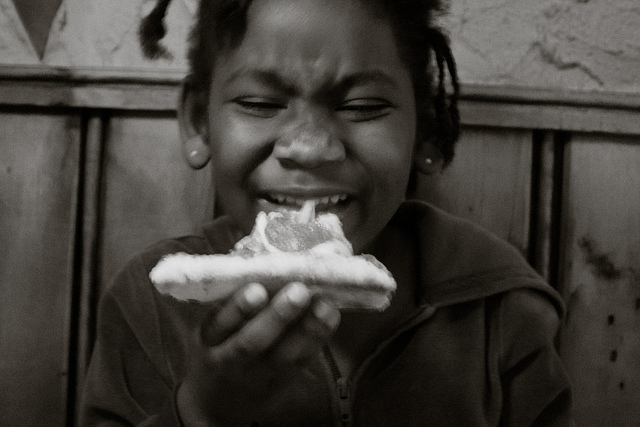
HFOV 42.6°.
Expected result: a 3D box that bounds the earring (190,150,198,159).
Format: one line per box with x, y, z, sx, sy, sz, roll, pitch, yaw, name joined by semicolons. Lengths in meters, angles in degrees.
-0.464;-0.213;2.960;0.020;0.006;0.027;13;91;22;earring
